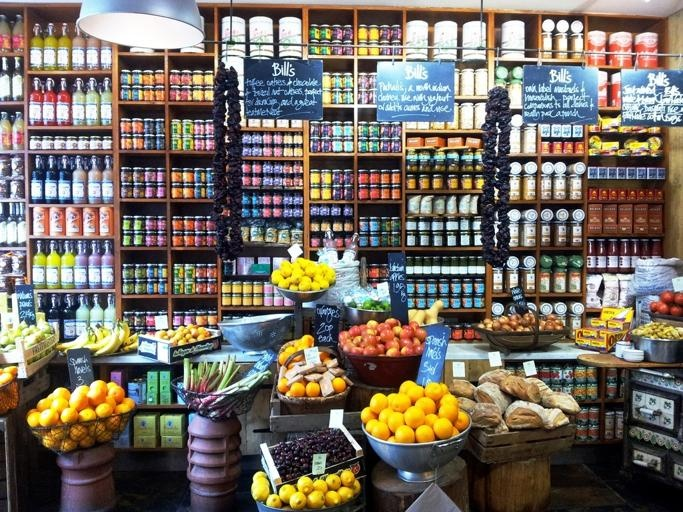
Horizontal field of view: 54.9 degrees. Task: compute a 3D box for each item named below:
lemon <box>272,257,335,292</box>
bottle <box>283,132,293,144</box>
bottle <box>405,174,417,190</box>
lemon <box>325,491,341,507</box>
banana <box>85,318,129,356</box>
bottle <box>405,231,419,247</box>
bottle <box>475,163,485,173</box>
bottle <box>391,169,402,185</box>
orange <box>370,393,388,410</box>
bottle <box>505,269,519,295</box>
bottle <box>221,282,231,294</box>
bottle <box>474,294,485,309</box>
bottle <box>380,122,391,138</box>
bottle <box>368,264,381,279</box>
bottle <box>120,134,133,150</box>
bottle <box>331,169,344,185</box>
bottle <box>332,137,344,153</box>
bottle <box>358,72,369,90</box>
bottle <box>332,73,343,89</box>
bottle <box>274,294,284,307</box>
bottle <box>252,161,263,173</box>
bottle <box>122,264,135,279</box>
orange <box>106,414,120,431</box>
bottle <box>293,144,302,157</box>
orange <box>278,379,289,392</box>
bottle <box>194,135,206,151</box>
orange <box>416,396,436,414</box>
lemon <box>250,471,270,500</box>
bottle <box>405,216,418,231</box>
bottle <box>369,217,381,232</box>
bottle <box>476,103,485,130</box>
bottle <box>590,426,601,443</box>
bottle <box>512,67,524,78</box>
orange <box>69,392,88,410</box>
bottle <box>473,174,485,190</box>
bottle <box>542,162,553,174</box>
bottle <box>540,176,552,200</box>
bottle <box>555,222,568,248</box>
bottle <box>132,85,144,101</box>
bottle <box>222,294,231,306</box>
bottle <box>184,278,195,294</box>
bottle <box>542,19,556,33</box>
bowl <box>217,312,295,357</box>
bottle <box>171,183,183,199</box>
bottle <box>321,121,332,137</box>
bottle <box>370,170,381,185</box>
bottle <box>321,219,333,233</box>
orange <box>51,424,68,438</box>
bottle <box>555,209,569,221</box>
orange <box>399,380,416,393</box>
[{"bbox_3d":[-0.297,0.141,4.886,0.328,0.123,0.309,2,4,10],"label":"lemon"},{"bbox_3d":[-0.486,-1.095,6.062,0.099,0.098,0.093,1,4,10],"label":"bottle"},{"bbox_3d":[0.654,-0.689,6.114,0.135,0.132,0.126,1,0,-1],"label":"bottle"},{"bbox_3d":[-0.051,1.421,3.856,0.094,0.061,0.065,3,-7,0],"label":"lemon"},{"bbox_3d":[-1.854,0.663,5.083,0.306,0.146,0.205,-15,20,5],"label":"banana"},{"bbox_3d":[0.666,-0.159,6.156,0.131,0.130,0.127,1,2,22],"label":"bottle"},{"bbox_3d":[1.279,-0.820,6.126,0.073,0.084,0.086,-4,4,-2],"label":"bottle"},{"bbox_3d":[0.512,-0.739,6.121,0.135,0.132,0.130,1,2,20],"label":"bottle"},{"bbox_3d":[0.233,0.900,4.065,0.107,0.112,0.097,2,-11,-4],"label":"orange"},{"bbox_3d":[1.640,0.229,6.273,0.130,0.221,0.178,-3,4,16],"label":"bottle"},{"bbox_3d":[-1.072,0.287,6.070,0.108,0.109,0.105,1,1,24],"label":"bottle"},{"bbox_3d":[1.313,0.430,6.212,0.115,0.116,0.108,1,1,3],"label":"bottle"},{"bbox_3d":[0.418,-1.183,6.134,0.126,0.125,0.117,1,1,-3],"label":"bottle"},{"bbox_3d":[0.317,0.143,6.200,0.140,0.135,0.129,1,0,-8],"label":"bottle"},{"bbox_3d":[-1.987,-1.059,6.072,0.151,0.141,0.140,0,2,-8],"label":"bottle"},{"bbox_3d":[-0.031,-0.736,6.132,0.139,0.134,0.131,2,3,2],"label":"bottle"},{"bbox_3d":[-0.037,-1.030,6.043,0.128,0.120,0.120,1,3,-3],"label":"bottle"},{"bbox_3d":[0.207,-1.627,6.094,0.138,0.134,0.130,2,2,3],"label":"bottle"},{"bbox_3d":[-0.035,-1.621,6.124,0.149,0.145,0.139,1,3,-8],"label":"bottle"},{"bbox_3d":[-0.593,0.407,6.074,0.116,0.117,0.118,-2,-3,44],"label":"bottle"},{"bbox_3d":[-0.779,-0.818,6.072,0.099,0.093,0.092,0,3,-15],"label":"bottle"},{"bbox_3d":[-1.975,0.139,6.090,0.136,0.126,0.126,1,1,-18],"label":"bottle"},{"bbox_3d":[-1.549,1.134,4.515,0.118,0.088,0.117,2,-5,0],"label":"orange"},{"bbox_3d":[-0.401,-0.979,6.093,0.110,0.108,0.104,2,2,10],"label":"bottle"},{"bbox_3d":[-0.382,0.850,4.321,0.082,0.087,0.077,6,-10,-25],"label":"orange"},{"bbox_3d":[-1.324,-1.050,6.122,0.143,0.135,0.133,0,3,-13],"label":"bottle"},{"bbox_3d":[0.515,0.902,3.984,0.106,0.107,0.096,1,2,-5],"label":"orange"},{"bbox_3d":[-0.496,1.384,3.973,0.113,0.089,0.180,9,16,-16],"label":"lemon"},{"bbox_3d":[0.666,-0.305,6.155,0.123,0.103,0.117,1,2,11],"label":"bottle"},{"bbox_3d":[0.317,-0.294,6.141,0.130,0.128,0.124,1,1,15],"label":"bottle"},{"bbox_3d":[1.309,-1.317,6.154,0.079,0.252,0.106,-7,5,-30],"label":"bottle"},{"bbox_3d":[2.217,1.537,5.689,0.125,0.120,0.116,0,2,-6],"label":"bottle"},{"bbox_3d":[1.661,-1.714,6.158,0.121,0.107,0.070,11,3,16],"label":"bottle"},{"bbox_3d":[-1.760,0.970,4.404,0.109,0.096,0.103,0,14,-13],"label":"orange"},{"bbox_3d":[1.283,-0.690,6.132,0.078,0.159,0.150,-4,4,2],"label":"bottle"},{"bbox_3d":[1.961,-0.830,6.203,0.123,0.120,0.036,-5,4,-19],"label":"bottle"},{"bbox_3d":[1.961,-0.657,6.244,0.133,0.235,0.036,-6,5,-25],"label":"bottle"},{"bbox_3d":[2.107,-0.210,6.272,0.115,0.236,0.076,-3,4,10],"label":"bottle"},{"bbox_3d":[-1.887,-1.504,6.063,0.136,0.126,0.126,0,2,-21],"label":"bottle"},{"bbox_3d":[-1.073,0.406,6.077,0.101,0.096,0.096,2,-1,-32],"label":"bottle"},{"bbox_3d":[-1.419,0.282,6.057,0.144,0.141,0.135,2,-1,4],"label":"bottle"},{"bbox_3d":[1.992,-2.200,6.252,0.171,0.138,0.078,-8,6,-45],"label":"bottle"},{"bbox_3d":[-0.626,0.569,4.935,0.402,0.164,0.384,-2,-4,0],"label":"bowl"},{"bbox_3d":[-1.536,-0.604,6.061,0.135,0.131,0.125,1,1,-23],"label":"bottle"},{"bbox_3d":[-0.133,-1.176,6.103,0.139,0.127,0.129,1,4,-2],"label":"bottle"},{"bbox_3d":[0.325,-0.746,6.141,0.132,0.130,0.125,1,4,10],"label":"bottle"},{"bbox_3d":[-0.138,-0.293,6.143,0.124,0.121,0.115,1,0,-7],"label":"bottle"},{"bbox_3d":[-1.863,1.153,4.334,0.093,0.070,0.071,-11,-19,20],"label":"orange"},{"bbox_3d":[2.151,-0.392,6.297,0.210,0.118,0.092,-7,5,-40],"label":"bottle"},{"bbox_3d":[0.420,0.828,4.160,0.089,0.066,0.070,-20,-35,36],"label":"orange"}]
